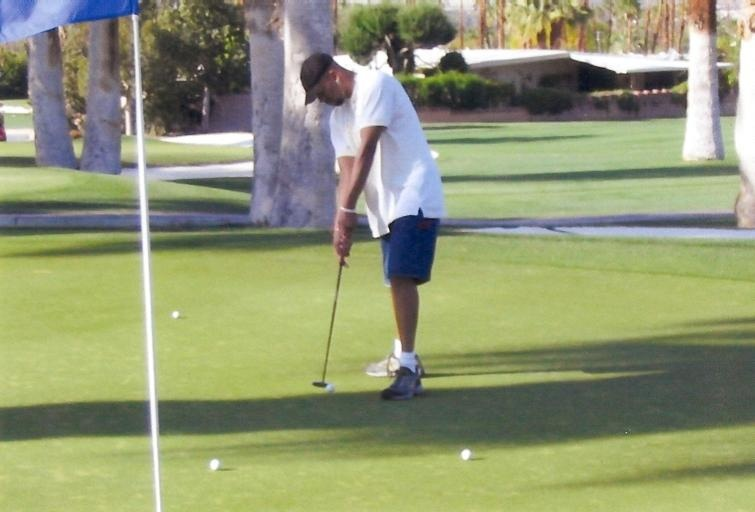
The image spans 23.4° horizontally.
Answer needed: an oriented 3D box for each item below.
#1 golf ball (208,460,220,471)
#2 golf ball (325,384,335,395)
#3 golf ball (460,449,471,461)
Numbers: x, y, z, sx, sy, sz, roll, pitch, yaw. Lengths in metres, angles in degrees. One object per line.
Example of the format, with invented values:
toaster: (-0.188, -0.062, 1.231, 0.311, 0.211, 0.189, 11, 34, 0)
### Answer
golf ball: (-2.057, 2.649, 23.133, 0.127, 0.141, 0.130, 10, -8, 1)
golf ball: (-0.640, 1.752, 24.150, 0.109, 0.102, 0.093, 1, 4, -24)
golf ball: (1.138, 2.521, 23.199, 0.171, 0.114, 0.120, -11, 14, -36)
